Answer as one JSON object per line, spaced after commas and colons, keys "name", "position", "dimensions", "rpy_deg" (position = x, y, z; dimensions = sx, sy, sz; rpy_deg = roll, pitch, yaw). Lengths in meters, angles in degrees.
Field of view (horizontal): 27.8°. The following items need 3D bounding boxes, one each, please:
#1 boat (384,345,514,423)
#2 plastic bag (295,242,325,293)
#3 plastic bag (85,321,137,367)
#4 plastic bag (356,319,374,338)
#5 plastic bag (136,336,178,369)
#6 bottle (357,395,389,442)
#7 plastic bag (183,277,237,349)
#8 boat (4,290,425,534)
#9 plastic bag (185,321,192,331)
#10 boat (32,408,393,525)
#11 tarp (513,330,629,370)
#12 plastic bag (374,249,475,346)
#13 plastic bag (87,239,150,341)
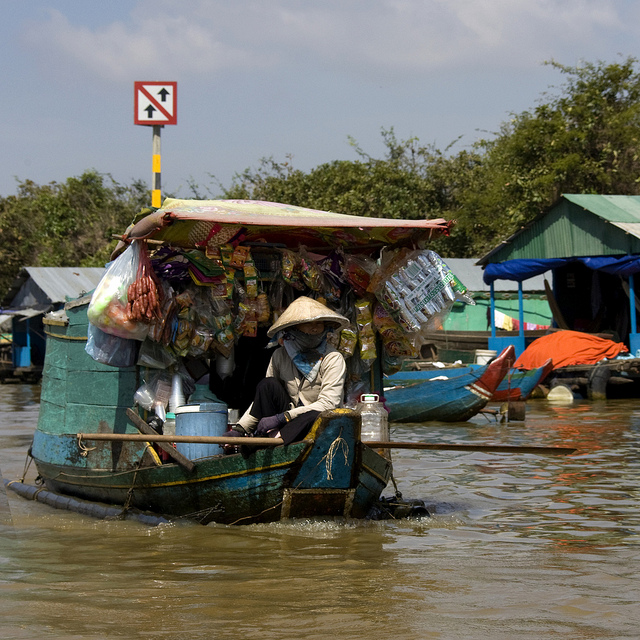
{"name": "boat", "position": [1.880, 1.159, 19.455], "dimensions": [1.042, 0.832, 2.943], "rpy_deg": [13, -20, -32]}
{"name": "plastic bag", "position": [-0.071, -0.475, 11.573], "dimensions": [0.167, 0.447, 0.190], "rpy_deg": [-30, -4, 7]}
{"name": "plastic bag", "position": [-1.804, 0.203, 11.008], "dimensions": [0.455, 0.346, 0.410], "rpy_deg": [3, -1, -10]}
{"name": "plastic bag", "position": [0.410, 0.069, 11.529], "dimensions": [0.140, 0.154, 0.069], "rpy_deg": [1, 8, 1]}
{"name": "plastic bag", "position": [-1.386, 0.278, 11.029], "dimensions": [0.322, 0.261, 0.090], "rpy_deg": [14, 32, -8]}
{"name": "bottle", "position": [0.448, 0.808, 10.772], "dimensions": [0.261, 0.373, 0.406], "rpy_deg": [1, 6, 2]}
{"name": "plastic bag", "position": [-0.945, -0.075, 11.157], "dimensions": [0.355, 0.520, 0.515], "rpy_deg": [-10, 3, -26]}
{"name": "boat", "position": [-1.108, 0.862, 11.376], "dimensions": [2.169, 1.187, 3.750], "rpy_deg": [3, -2, -40]}
{"name": "plastic bag", "position": [-1.111, 0.044, 10.998], "dimensions": [0.020, 0.062, 0.078], "rpy_deg": [-5, 16, -37]}
{"name": "boat", "position": [-0.890, 1.428, 11.439], "dimensions": [2.007, 0.787, 3.706], "rpy_deg": [14, -13, -37]}
{"name": "tarp", "position": [4.435, 0.541, 23.191], "dimensions": [1.832, 0.643, 1.108], "rpy_deg": [3, 6, 24]}
{"name": "plastic bag", "position": [0.918, -0.253, 11.335], "dimensions": [0.969, 0.695, 0.442], "rpy_deg": [-6, 5, -11]}
{"name": "plastic bag", "position": [-1.576, -0.299, 10.774], "dimensions": [0.597, 0.901, 0.437], "rpy_deg": [7, -13, 21]}
